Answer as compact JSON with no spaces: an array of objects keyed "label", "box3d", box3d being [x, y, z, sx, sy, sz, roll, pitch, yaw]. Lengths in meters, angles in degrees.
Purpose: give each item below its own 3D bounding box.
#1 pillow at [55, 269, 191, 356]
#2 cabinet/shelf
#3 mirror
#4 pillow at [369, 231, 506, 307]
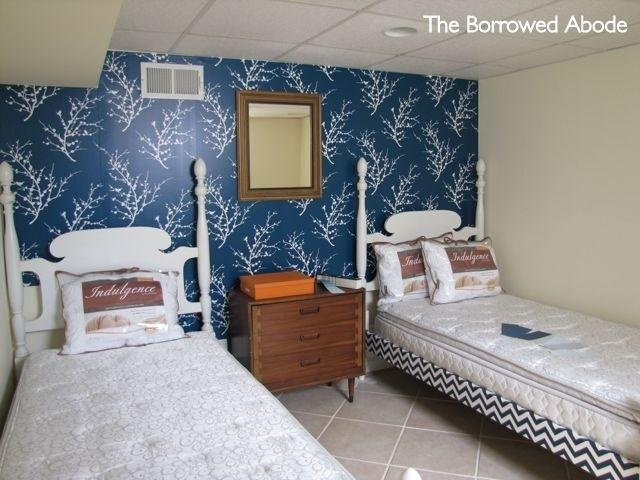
[{"label":"pillow","box3d":[-1.273,0.433,2.842,0.683,0.508,0.176,-2,-21,-26]},{"label":"cabinet/shelf","box3d":[-0.127,0.517,3.662,1.205,1.093,0.752,-2,4,-25]},{"label":"mirror","box3d":[-0.351,-0.766,3.536,0.941,1.081,0.081,-1,2,-24]},{"label":"pillow","box3d":[0.962,0.233,3.706,0.962,0.555,0.276,-4,-11,-1]}]
